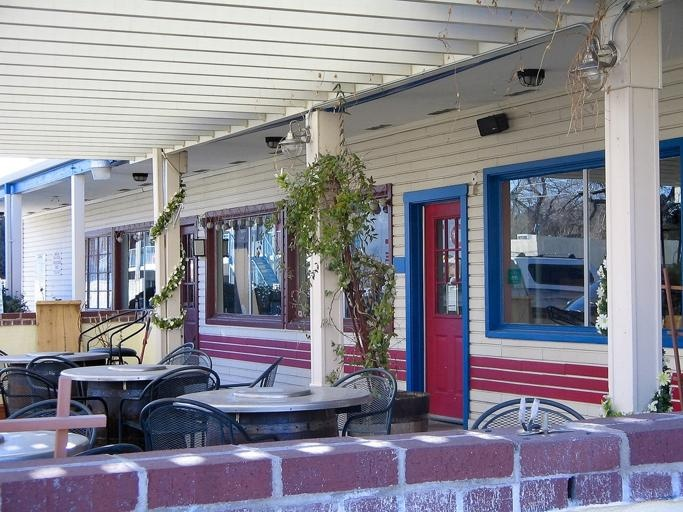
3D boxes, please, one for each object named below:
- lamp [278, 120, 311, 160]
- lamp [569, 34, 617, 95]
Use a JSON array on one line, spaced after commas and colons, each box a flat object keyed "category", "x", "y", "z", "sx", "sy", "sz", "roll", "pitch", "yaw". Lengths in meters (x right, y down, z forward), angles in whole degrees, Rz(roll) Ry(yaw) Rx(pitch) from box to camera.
[{"category": "lamp", "x": -0.395, "y": -1.027, "z": 6.650, "sx": 0.206, "sy": 0.295, "sz": 0.187, "roll": -14, "pitch": 16, "yaw": -14}, {"category": "lamp", "x": 1.571, "y": -1.190, "z": 4.638, "sx": 0.204, "sy": 0.453, "sz": 0.216, "roll": 2, "pitch": -14, "yaw": 35}]
